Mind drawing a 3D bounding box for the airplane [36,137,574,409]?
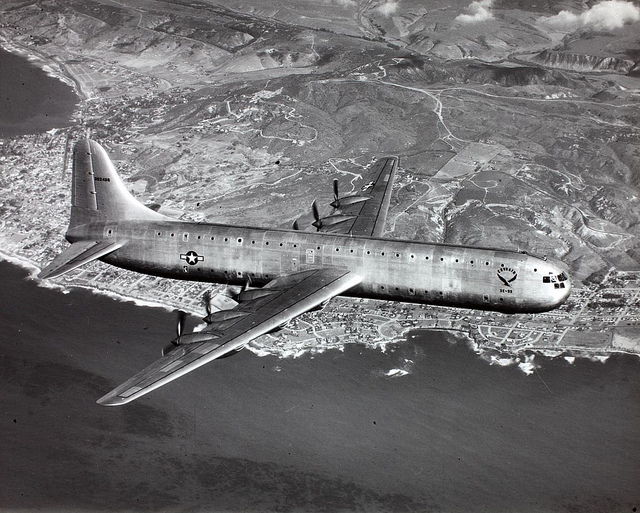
[{"bbox_3d":[-1.520,-1.247,86.175,65.225,10.534,44.986,11,45,12],"label":"airplane"}]
